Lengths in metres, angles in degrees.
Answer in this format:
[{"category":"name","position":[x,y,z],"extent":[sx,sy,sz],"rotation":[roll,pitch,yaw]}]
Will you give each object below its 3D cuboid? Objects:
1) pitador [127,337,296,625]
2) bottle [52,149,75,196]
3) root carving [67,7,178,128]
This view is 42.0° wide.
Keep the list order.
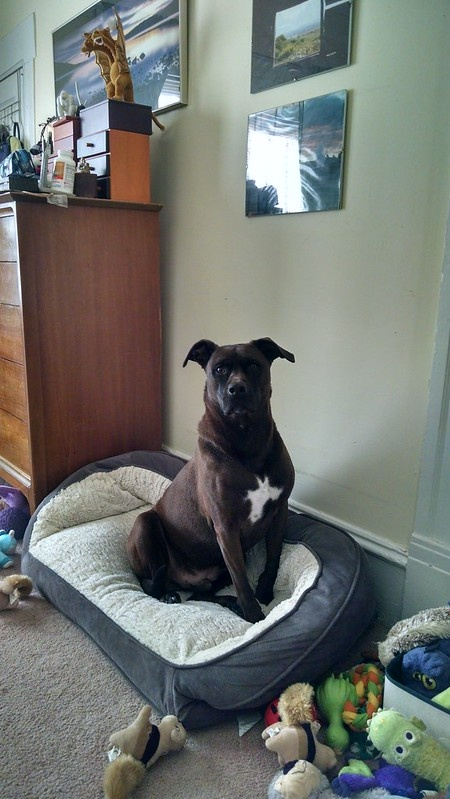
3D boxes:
[{"category":"pitador","position":[-0.030,0.234,1.859],"extent":[0.535,0.842,0.426],"rotation":[5,7,44]},{"category":"bottle","position":[-0.631,-0.883,2.284],"extent":[0.096,0.158,0.090],"rotation":[0,18,0]},{"category":"root carving","position":[-0.465,-1.392,2.394],"extent":[0.167,0.348,0.206],"rotation":[-15,23,-38]}]
